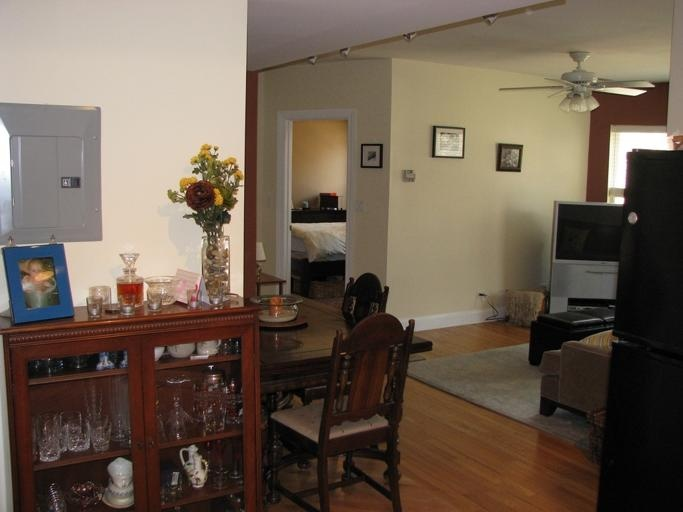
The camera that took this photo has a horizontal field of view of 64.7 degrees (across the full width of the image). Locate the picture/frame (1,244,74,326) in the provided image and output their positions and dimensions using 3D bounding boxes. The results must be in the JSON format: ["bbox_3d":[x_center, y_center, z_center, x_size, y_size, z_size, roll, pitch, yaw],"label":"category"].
[{"bbox_3d":[-1.241,0.112,2.204,0.219,0.297,0.129,-7,13,-39],"label":"picture/frame"}]

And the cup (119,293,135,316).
[{"bbox_3d":[-0.921,0.209,2.311,0.077,0.089,0.076,1,7,0],"label":"cup"}]

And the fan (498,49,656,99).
[{"bbox_3d":[2.560,-2.013,5.903,0.772,0.209,0.702,-2,9,-32],"label":"fan"}]

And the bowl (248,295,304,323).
[{"bbox_3d":[-0.413,0.337,3.471,0.214,0.094,0.215,1,4,0],"label":"bowl"}]

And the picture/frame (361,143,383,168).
[{"bbox_3d":[0.356,-1.137,6.083,0.267,0.277,0.022,4,9,21],"label":"picture/frame"}]

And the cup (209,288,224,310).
[{"bbox_3d":[-0.579,0.199,2.491,0.075,0.081,0.070,2,3,0],"label":"cup"}]

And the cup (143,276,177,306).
[{"bbox_3d":[-0.823,0.160,2.449,0.128,0.101,0.127,2,3,0],"label":"cup"}]

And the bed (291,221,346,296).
[{"bbox_3d":[-0.255,-0.019,7.725,0.868,0.593,1.254,-2,6,-19],"label":"bed"}]

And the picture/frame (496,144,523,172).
[{"bbox_3d":[2.119,-1.252,6.837,0.340,0.292,0.027,-10,12,-36],"label":"picture/frame"}]

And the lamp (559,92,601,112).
[{"bbox_3d":[2.309,-1.493,5.224,0.316,0.162,0.210,-1,10,-13],"label":"lamp"}]

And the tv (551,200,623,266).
[{"bbox_3d":[2.994,-0.261,6.521,0.726,0.615,0.375,2,2,1],"label":"tv"}]

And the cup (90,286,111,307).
[{"bbox_3d":[-1.038,0.170,2.318,0.087,0.087,0.077,11,10,43],"label":"cup"}]

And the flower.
[{"bbox_3d":[-0.653,-0.181,2.619,0.354,0.717,0.415,-1,10,-12],"label":"flower"}]

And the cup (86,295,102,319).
[{"bbox_3d":[-1.031,0.216,2.298,0.079,0.092,0.078,2,3,0],"label":"cup"}]
